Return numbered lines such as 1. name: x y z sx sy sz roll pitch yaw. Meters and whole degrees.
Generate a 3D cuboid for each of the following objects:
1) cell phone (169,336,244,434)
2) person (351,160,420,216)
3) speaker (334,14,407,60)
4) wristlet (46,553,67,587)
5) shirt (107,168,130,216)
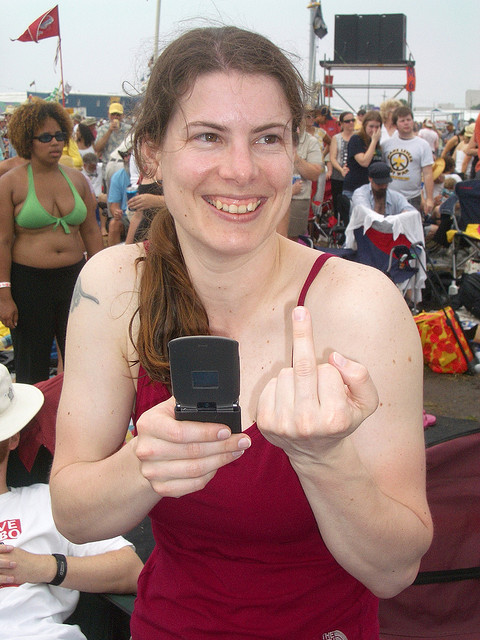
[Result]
1. cell phone: -0.056 0.108 0.983 0.118 0.172 0.059 1 10 -2
2. person: 1.425 -1.266 5.979 0.582 0.627 0.716 -5 30 -5
3. speaker: 4.348 -9.477 19.962 2.266 1.551 0.711 2 10 4
4. wristlet: -0.585 0.815 1.941 0.074 0.102 0.096 4 -6 -18
5. shirt: -1.434 -1.519 7.062 0.217 0.551 0.511 -2 10 -16
